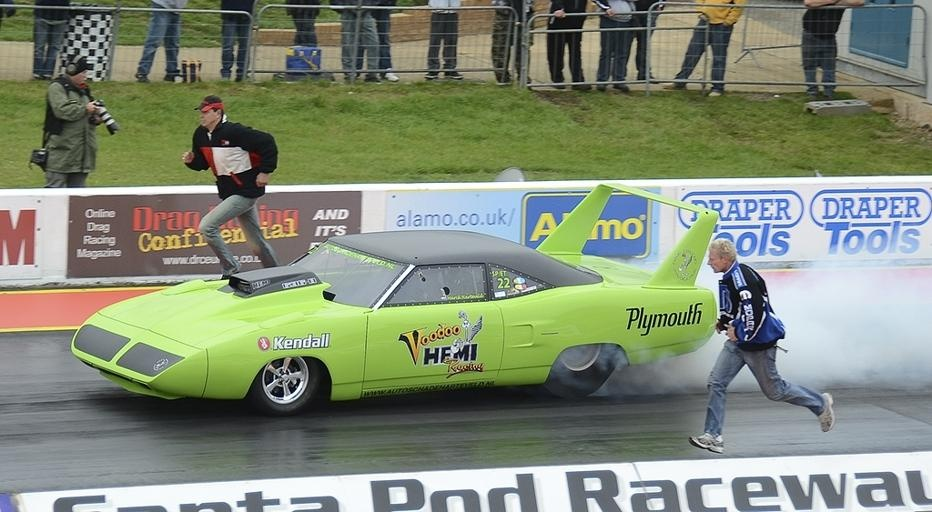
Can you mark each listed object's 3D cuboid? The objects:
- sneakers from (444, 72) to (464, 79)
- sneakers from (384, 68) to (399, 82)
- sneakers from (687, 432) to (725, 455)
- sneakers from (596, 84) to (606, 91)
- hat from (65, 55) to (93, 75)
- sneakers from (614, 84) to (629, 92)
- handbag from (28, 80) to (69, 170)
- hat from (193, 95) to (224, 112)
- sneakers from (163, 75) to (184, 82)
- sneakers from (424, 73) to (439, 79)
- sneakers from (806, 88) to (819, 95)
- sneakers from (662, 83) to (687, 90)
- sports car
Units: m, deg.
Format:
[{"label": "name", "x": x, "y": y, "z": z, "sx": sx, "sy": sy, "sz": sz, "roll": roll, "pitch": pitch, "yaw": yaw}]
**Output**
[{"label": "sneakers", "x": -0.245, "y": -3.671, "z": 22.332, "sx": 0.353, "sy": 0.199, "sz": 0.123, "roll": -5, "pitch": 22, "yaw": -11}, {"label": "sneakers", "x": -1.524, "y": -3.591, "z": 21.955, "sx": 0.271, "sy": 0.167, "sz": 0.167, "roll": 8, "pitch": 11, "yaw": 2}, {"label": "sneakers", "x": 3.012, "y": 2.313, "z": 13.288, "sx": 0.527, "sy": 0.196, "sz": 0.179, "roll": 13, "pitch": 3, "yaw": 5}, {"label": "sneakers", "x": 2.858, "y": -3.466, "z": 22.581, "sx": 0.155, "sy": 0.087, "sz": 0.149, "roll": 1, "pitch": 5, "yaw": 21}, {"label": "hat", "x": -6.040, "y": -2.870, "z": 16.618, "sx": 0.334, "sy": 0.241, "sz": 0.438, "roll": -9, "pitch": 19, "yaw": -26}, {"label": "sneakers", "x": 3.310, "y": -3.456, "z": 22.625, "sx": 0.381, "sy": 0.132, "sz": 0.128, "roll": 9, "pitch": 33, "yaw": 15}, {"label": "handbag", "x": -6.543, "y": -1.982, "z": 16.684, "sx": 0.609, "sy": 1.432, "sz": 0.563, "roll": -10, "pitch": 21, "yaw": -26}, {"label": "hat", "x": -3.638, "y": -2.117, "z": 15.409, "sx": 0.613, "sy": 0.287, "sz": 0.334, "roll": 0, "pitch": 13, "yaw": -12}, {"label": "sneakers", "x": -5.881, "y": -3.488, "z": 21.434, "sx": 0.189, "sy": 0.117, "sz": 0.179, "roll": -8, "pitch": 15, "yaw": -32}, {"label": "sneakers", "x": -0.704, "y": -3.645, "z": 22.269, "sx": 0.162, "sy": 0.055, "sz": 0.159, "roll": 1, "pitch": -3, "yaw": -22}, {"label": "sneakers", "x": 7.429, "y": -3.429, "z": 22.914, "sx": 0.196, "sy": 0.152, "sz": 0.178, "roll": -7, "pitch": 16, "yaw": -26}, {"label": "sneakers", "x": 4.419, "y": -3.505, "z": 22.716, "sx": 0.511, "sy": 0.175, "sz": 0.153, "roll": 7, "pitch": 7, "yaw": -3}, {"label": "sports car", "x": -0.862, "y": 0.745, "z": 14.371, "sx": 7.819, "sy": 2.048, "sz": 3.302, "roll": -2, "pitch": 14, "yaw": -20}]
